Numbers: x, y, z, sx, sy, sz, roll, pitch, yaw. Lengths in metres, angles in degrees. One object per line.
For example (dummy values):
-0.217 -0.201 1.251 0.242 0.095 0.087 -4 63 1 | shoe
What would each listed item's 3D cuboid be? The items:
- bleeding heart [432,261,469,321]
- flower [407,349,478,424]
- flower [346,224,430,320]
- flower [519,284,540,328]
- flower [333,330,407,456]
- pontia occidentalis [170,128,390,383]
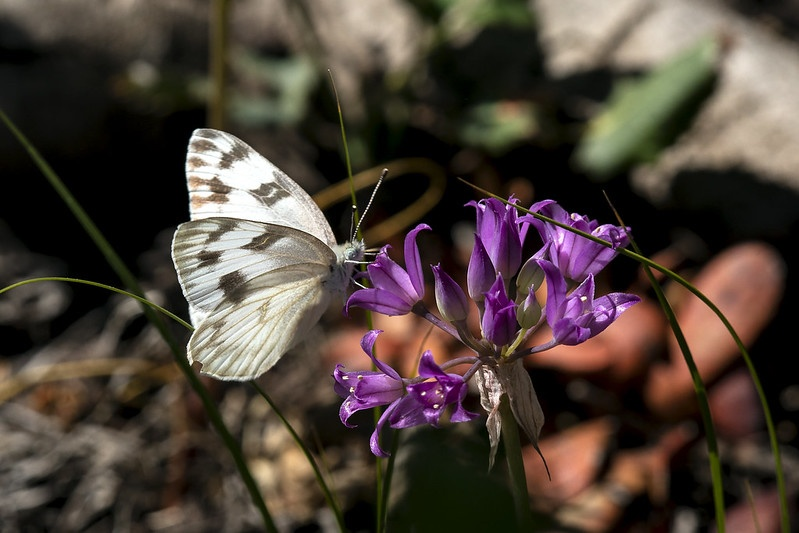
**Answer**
0.298 0.180 4.547 0.155 0.160 0.413 -30 58 28 | bleeding heart
0.249 0.695 4.296 0.372 0.355 0.277 7 46 6 | flower
-0.027 0.043 4.473 0.332 0.486 0.568 24 51 21 | flower
0.762 0.240 4.466 0.131 0.224 0.147 12 47 11 | flower
-0.104 0.745 4.516 0.466 0.816 0.808 -7 85 -8 | flower
-0.823 -0.018 5.351 0.598 2.454 2.035 0 90 0 | pontia occidentalis
